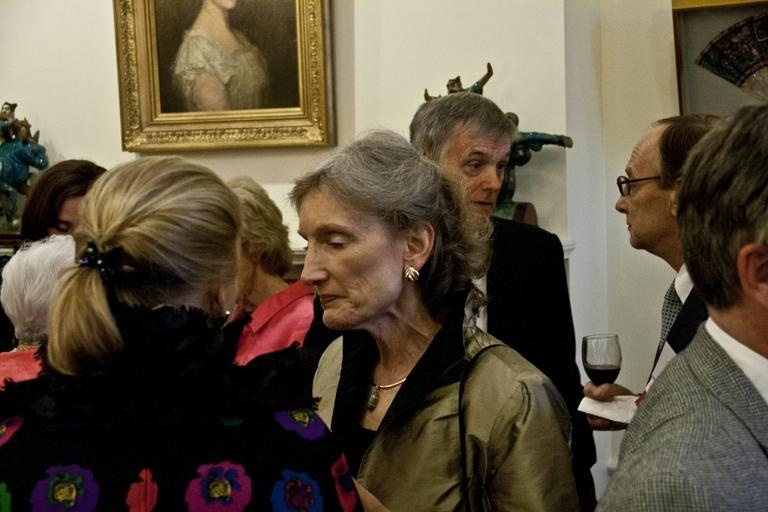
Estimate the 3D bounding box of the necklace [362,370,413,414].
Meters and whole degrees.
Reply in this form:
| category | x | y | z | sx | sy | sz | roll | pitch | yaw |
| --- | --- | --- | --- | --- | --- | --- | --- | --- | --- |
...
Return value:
| category | x | y | z | sx | sy | sz | roll | pitch | yaw |
| --- | --- | --- | --- | --- | --- | --- | --- | --- | --- |
| necklace | 0.017 | 0.406 | 2.207 | 0.114 | 0.067 | 0.105 | -15 | 6 | -3 |
